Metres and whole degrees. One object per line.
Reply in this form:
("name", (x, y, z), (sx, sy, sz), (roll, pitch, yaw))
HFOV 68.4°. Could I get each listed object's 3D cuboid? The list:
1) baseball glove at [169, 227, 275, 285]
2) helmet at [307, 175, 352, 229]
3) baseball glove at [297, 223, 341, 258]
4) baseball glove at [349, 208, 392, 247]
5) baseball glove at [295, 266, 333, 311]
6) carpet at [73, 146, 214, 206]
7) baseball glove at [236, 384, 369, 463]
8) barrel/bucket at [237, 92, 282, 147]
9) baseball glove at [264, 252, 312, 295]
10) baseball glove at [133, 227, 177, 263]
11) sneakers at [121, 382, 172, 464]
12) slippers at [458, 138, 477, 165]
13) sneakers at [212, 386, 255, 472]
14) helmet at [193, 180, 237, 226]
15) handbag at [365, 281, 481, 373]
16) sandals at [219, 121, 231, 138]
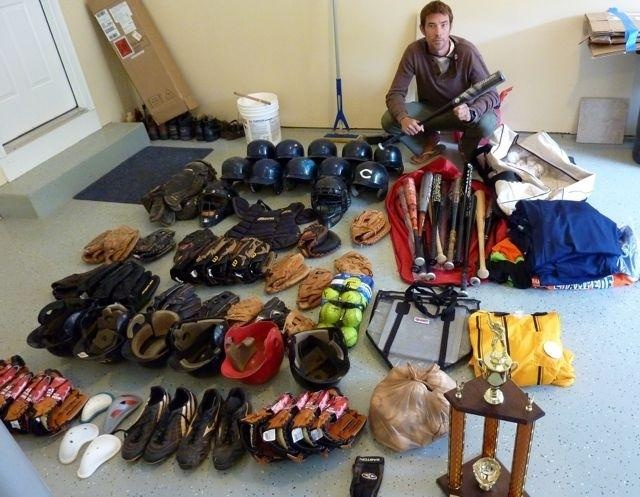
("baseball glove", (-0.700, 0.070, 3.268), (0.557, 0.211, 0.380), (3, 44, 21))
("helmet", (0.071, -0.361, 3.675), (0.284, 0.356, 0.190), (-30, 38, -30))
("baseball glove", (-0.004, -0.038, 3.433), (0.212, 0.094, 0.289), (34, 59, 24))
("baseball glove", (0.384, -0.164, 3.590), (0.308, 0.144, 0.339), (-7, 31, 2))
("baseball glove", (-0.033, 0.255, 3.077), (0.215, 0.243, 0.238), (16, 33, 22))
("carpet", (-1.757, -0.727, 4.577), (0.676, 0.005, 1.082), (13, 42, 15))
("baseball glove", (-0.076, 0.862, 2.348), (0.608, 0.215, 0.312), (-11, 32, -5))
("barrel/bucket", (-0.579, -1.278, 4.646), (0.380, 0.468, 0.400), (-6, 32, 4))
("baseball glove", (-0.251, 0.209, 3.278), (0.321, 0.250, 0.339), (20, 32, 29))
("baseball glove", (-1.230, -0.026, 3.562), (0.212, 0.088, 0.302), (34, 49, 28))
("sneakers", (-0.901, 0.913, 2.530), (0.160, 0.170, 0.439), (14, 62, 17))
("slippers", (1.269, -0.815, 4.040), (0.090, 0.111, 0.259), (3, 61, 10))
("sneakers", (-0.445, 0.929, 2.439), (0.156, 0.150, 0.407), (3, 61, 4))
("helmet", (-0.838, -0.361, 3.858), (0.360, 0.273, 0.256), (-17, 33, -14))
("handbag", (0.601, 0.455, 2.793), (0.630, 0.220, 0.598), (4, 33, 18))
("sandals", (-1.027, -1.289, 5.130), (0.138, 0.170, 0.063), (2, -3, 18))
